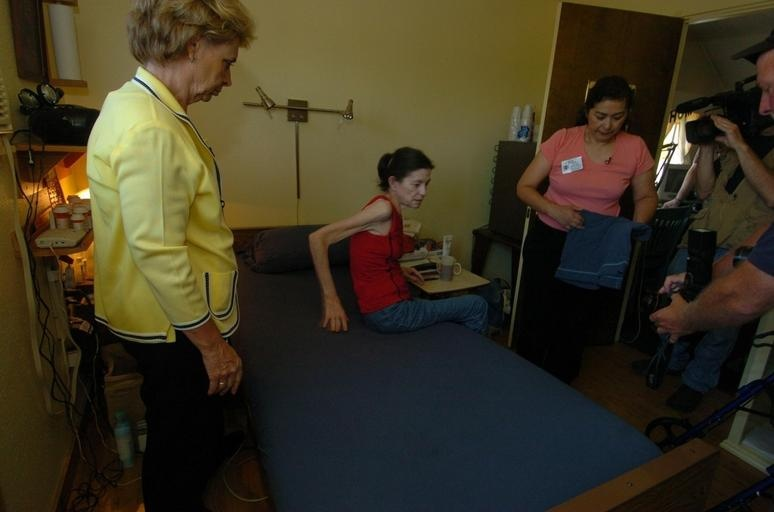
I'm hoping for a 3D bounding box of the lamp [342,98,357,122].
[{"bbox_3d":[-0.277,-1.052,4.052,0.108,0.150,0.072,-7,21,-23],"label":"lamp"}]

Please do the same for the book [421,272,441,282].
[{"bbox_3d":[0.279,0.134,3.673,0.076,0.019,0.075,-8,32,-17],"label":"book"}]

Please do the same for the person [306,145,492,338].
[{"bbox_3d":[0.092,0.138,3.304,1.160,1.446,0.562,-2,4,-19],"label":"person"}]

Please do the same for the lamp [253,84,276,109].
[{"bbox_3d":[-0.810,-1.054,3.761,0.130,0.153,0.126,-3,20,-11],"label":"lamp"}]

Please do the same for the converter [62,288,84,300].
[{"bbox_3d":[-1.856,0.232,3.320,0.100,0.025,0.100,2,4,10],"label":"converter"}]

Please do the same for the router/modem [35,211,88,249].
[{"bbox_3d":[-1.570,-0.137,2.739,0.148,0.057,0.242,3,17,-7],"label":"router/modem"}]

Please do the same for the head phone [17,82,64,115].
[{"bbox_3d":[-1.614,-0.741,2.646,0.189,0.139,0.074,-22,11,-31],"label":"head phone"}]

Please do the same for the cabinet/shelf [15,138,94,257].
[{"bbox_3d":[-1.635,-0.279,2.744,0.173,0.457,0.484,-2,18,-16],"label":"cabinet/shelf"}]

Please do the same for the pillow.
[{"bbox_3d":[-0.584,-0.059,3.724,0.535,0.158,0.336,-7,19,-19],"label":"pillow"}]
